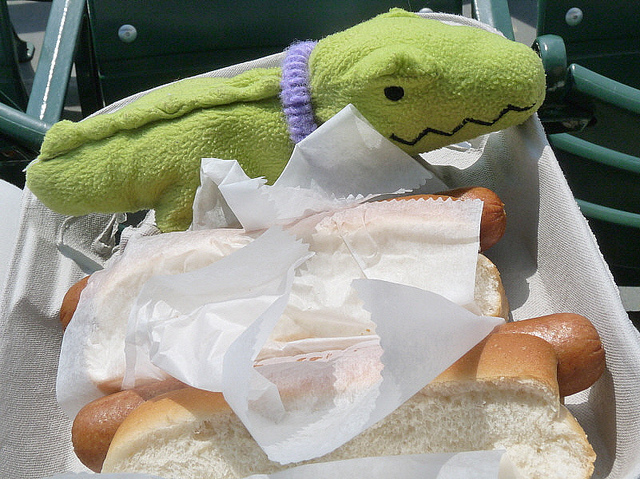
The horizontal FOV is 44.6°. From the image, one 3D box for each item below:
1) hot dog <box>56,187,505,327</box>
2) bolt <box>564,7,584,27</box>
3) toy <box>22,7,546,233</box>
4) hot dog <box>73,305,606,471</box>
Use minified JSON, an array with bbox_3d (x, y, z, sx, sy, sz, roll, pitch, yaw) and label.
[{"bbox_3d":[-0.029,0.020,0.842,0.452,0.091,0.102,-6,68,5],"label":"hot dog"},{"bbox_3d":[0.409,-0.352,1.258,0.027,0.025,0.006,5,19,-1],"label":"bolt"},{"bbox_3d":[-0.044,-0.133,0.913,0.597,0.185,0.121,-8,42,-5],"label":"toy"},{"bbox_3d":[0.024,0.154,0.760,0.405,0.104,0.211,-4,36,7],"label":"hot dog"}]
